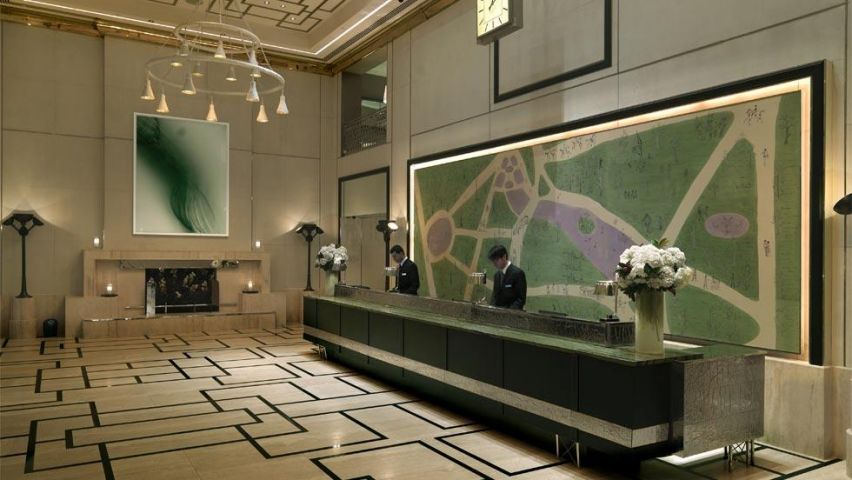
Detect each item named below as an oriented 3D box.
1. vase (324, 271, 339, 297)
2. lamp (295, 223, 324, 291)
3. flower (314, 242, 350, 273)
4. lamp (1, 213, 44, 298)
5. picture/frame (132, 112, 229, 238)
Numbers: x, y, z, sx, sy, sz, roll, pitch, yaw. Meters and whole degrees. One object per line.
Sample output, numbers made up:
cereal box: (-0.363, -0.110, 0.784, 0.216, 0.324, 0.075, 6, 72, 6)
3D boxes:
vase: (-2.083, 0.974, 13.119, 0.284, 0.501, 0.273, -1, 10, -9)
lamp: (-3.340, 0.458, 17.371, 0.860, 1.960, 0.700, -7, 12, -35)
flower: (-2.126, 0.398, 13.348, 0.886, 0.683, 0.669, -1, -4, 43)
lamp: (-9.878, 0.318, 14.422, 0.895, 2.086, 0.779, -3, 11, -21)
picture/frame: (-6.630, -1.744, 15.887, 2.432, 3.269, 0.573, -4, 11, -25)
